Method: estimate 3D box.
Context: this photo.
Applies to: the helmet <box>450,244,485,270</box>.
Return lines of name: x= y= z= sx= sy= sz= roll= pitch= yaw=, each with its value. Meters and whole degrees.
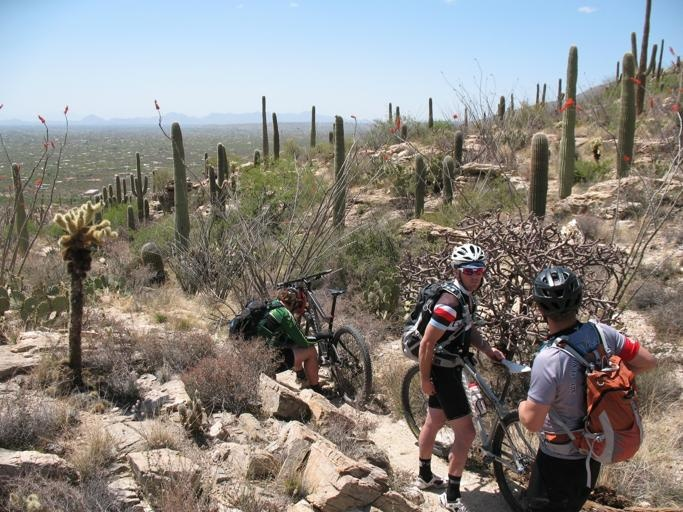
helmet: x=1.195 y=0.000 z=5.370 sx=0.285 sy=0.215 sz=0.278 roll=0 pitch=8 yaw=19

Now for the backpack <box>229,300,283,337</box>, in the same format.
backpack: x=-1.066 y=0.814 z=7.193 sx=0.525 sy=0.568 sz=0.426 roll=25 pitch=-5 yaw=-7

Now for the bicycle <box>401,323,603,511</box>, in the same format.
bicycle: x=1.467 y=1.642 z=6.023 sx=0.878 sy=1.231 sz=1.833 roll=-5 pitch=9 yaw=-29

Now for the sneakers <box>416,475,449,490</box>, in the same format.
sneakers: x=0.896 y=2.225 z=5.688 sx=0.333 sy=0.173 sz=0.128 roll=-2 pitch=10 yaw=-7

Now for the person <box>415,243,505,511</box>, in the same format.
person: x=1.003 y=1.127 z=5.440 sx=0.760 sy=2.442 sz=0.601 roll=-2 pitch=7 yaw=5

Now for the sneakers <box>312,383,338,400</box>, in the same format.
sneakers: x=-0.180 y=1.708 z=7.253 sx=0.253 sy=0.076 sz=0.199 roll=31 pitch=10 yaw=38

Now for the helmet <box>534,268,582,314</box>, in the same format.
helmet: x=1.691 y=0.258 z=4.482 sx=0.268 sy=0.316 sz=0.385 roll=-4 pitch=0 yaw=13

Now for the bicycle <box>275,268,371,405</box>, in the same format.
bicycle: x=-0.133 y=1.012 z=7.521 sx=0.855 sy=1.177 sz=1.817 roll=-15 pitch=20 yaw=-14

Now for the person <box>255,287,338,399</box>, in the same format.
person: x=-0.631 y=1.058 z=7.125 sx=0.723 sy=1.316 sz=0.548 roll=-2 pitch=7 yaw=5
